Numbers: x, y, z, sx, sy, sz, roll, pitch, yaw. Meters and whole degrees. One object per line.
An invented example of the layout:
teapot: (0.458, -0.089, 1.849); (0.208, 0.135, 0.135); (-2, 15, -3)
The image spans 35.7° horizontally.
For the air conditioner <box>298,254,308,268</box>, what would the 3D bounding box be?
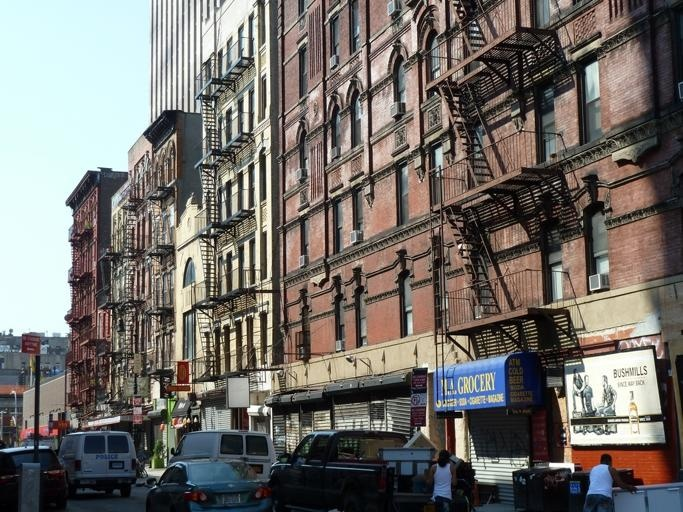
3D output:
air conditioner: (-1.688, 0.213, 46.290); (0.346, 0.738, 0.694); (1, -7, -16)

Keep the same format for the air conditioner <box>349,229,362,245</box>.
air conditioner: (0.546, -0.719, 42.018); (0.382, 0.737, 0.759); (3, -8, -22)

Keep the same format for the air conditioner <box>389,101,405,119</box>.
air conditioner: (2.066, -5.449, 39.560); (0.320, 0.575, 0.778); (8, -24, -30)

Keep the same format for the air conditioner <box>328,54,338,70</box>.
air conditioner: (-0.353, -8.146, 44.494); (0.291, 0.594, 0.578); (6, -18, -19)

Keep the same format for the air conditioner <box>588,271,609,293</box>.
air conditioner: (7.342, 0.745, 30.672); (0.378, 0.725, 0.743); (2, -4, -29)
